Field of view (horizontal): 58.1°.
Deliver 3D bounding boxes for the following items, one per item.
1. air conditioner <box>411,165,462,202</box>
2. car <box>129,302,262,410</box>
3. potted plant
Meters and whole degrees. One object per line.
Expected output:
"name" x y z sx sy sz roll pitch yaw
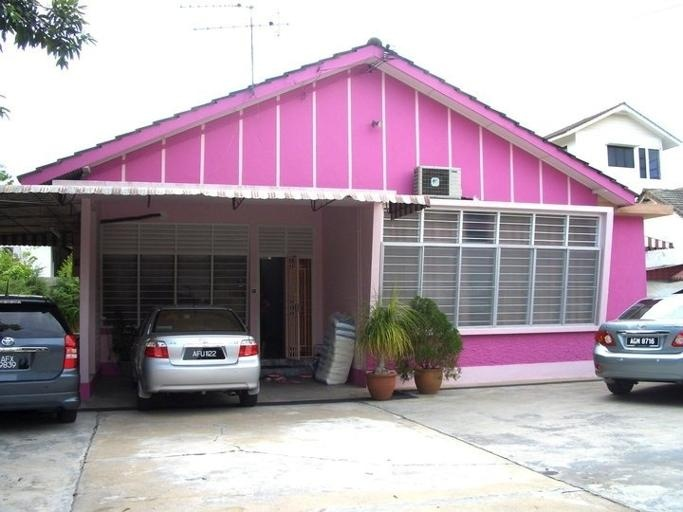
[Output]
"air conditioner" 2.088 -1.580 13.555 1.272 0.795 0.686 2 1 -11
"car" -2.395 1.601 10.148 1.325 1.033 2.604 1 0 -15
"potted plant" 1.322 1.767 11.865 1.901 1.990 1.124 2 -2 -45
